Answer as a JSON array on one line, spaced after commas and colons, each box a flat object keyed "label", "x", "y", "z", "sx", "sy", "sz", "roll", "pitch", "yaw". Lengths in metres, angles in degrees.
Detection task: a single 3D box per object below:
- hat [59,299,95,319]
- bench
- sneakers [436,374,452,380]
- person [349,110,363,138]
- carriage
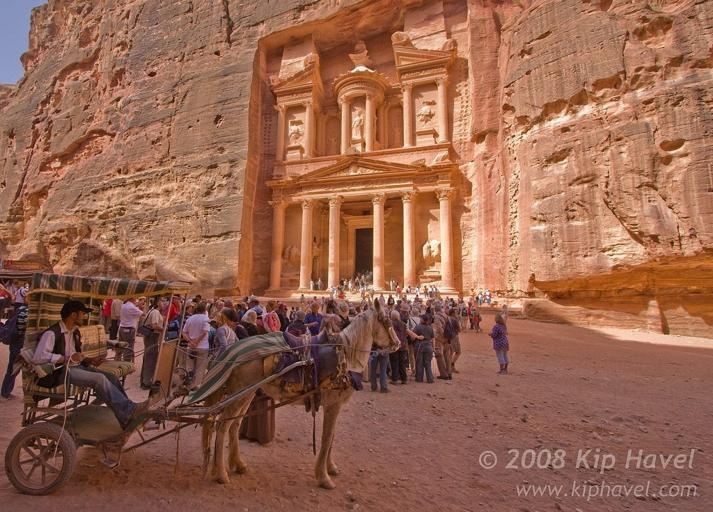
[{"label": "hat", "x": -5.320, "y": 1.019, "z": 9.114, "sx": 0.637, "sy": 0.314, "sz": 0.419, "roll": 5, "pitch": -2, "yaw": -36}, {"label": "bench", "x": -5.175, "y": 2.138, "z": 9.837, "sx": 1.017, "sy": 1.093, "sz": 2.196, "roll": 17, "pitch": -13, "yaw": -12}, {"label": "sneakers", "x": 2.703, "y": 3.720, "z": 14.467, "sx": 0.156, "sy": 0.164, "sz": 0.407, "roll": 4, "pitch": -10, "yaw": -29}, {"label": "person", "x": 0.118, "y": -9.196, "z": 33.133, "sx": 0.785, "sy": 2.137, "sz": 1.320, "roll": 2, "pitch": 12, "yaw": -1}, {"label": "carriage", "x": -3.288, "y": 2.429, "z": 10.544, "sx": 7.993, "sy": 3.732, "sz": 3.612, "roll": 0, "pitch": -5, "yaw": -3}]
